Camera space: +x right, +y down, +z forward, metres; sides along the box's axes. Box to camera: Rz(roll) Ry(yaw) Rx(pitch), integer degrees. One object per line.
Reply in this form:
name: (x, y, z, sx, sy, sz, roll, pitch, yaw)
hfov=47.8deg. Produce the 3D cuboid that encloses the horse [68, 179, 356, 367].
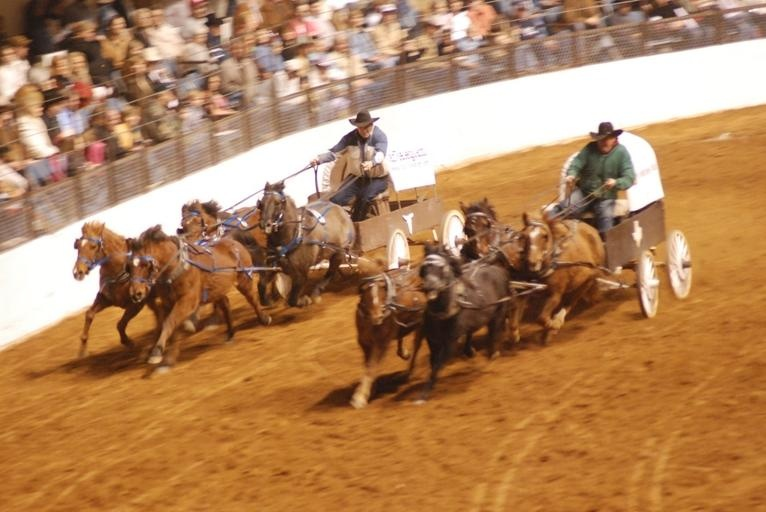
horse: (-3.444, 0.413, 14.926, 3.155, 2.511, 2.110, -15, 14, -32)

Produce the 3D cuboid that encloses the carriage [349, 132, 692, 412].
carriage: (2.645, -0.461, 13.876, 5.344, 2.599, 3.159, -10, 11, -43)

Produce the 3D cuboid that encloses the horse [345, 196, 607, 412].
horse: (0.858, 0.799, 12.588, 2.873, 2.438, 1.347, -15, 14, -33)

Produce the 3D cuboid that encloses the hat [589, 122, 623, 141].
hat: (3.415, -1.934, 13.559, 0.427, 0.174, 0.461, -1, 0, -17)
